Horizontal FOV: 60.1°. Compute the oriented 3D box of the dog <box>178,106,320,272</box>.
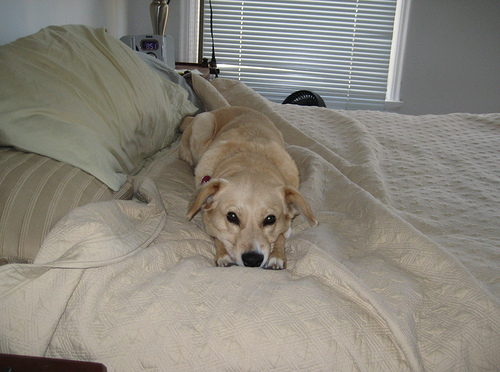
[{"bbox_3d":[-0.124,-0.176,2.711,0.665,0.569,1.846,-3,36,-15],"label":"dog"}]
